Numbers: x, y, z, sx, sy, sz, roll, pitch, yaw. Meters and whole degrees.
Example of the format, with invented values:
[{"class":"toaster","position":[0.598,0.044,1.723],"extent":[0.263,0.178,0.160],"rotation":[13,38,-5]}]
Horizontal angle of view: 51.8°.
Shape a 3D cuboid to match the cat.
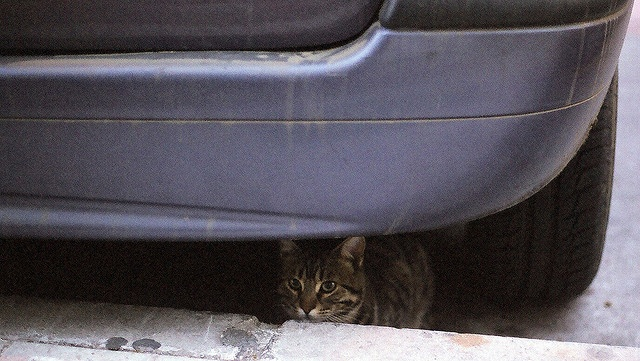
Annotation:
[{"class":"cat","position":[0.293,0.499,3.559],"extent":[0.382,0.620,0.897],"rotation":[4,7,40]}]
